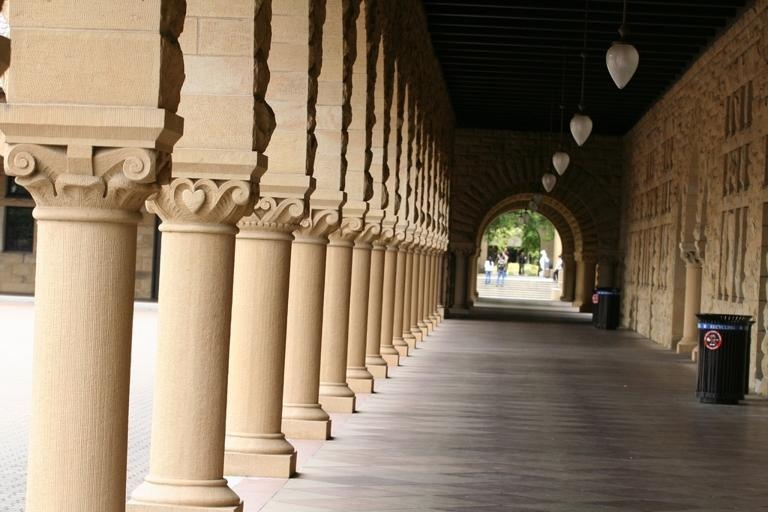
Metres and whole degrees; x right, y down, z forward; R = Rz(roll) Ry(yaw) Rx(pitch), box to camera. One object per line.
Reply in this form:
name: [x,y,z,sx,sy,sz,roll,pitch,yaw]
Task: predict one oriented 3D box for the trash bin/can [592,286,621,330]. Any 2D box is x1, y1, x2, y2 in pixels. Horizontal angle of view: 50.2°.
trash bin/can: [5.939,1.418,22.124,0.654,1.114,0.556,2,-4,23]
